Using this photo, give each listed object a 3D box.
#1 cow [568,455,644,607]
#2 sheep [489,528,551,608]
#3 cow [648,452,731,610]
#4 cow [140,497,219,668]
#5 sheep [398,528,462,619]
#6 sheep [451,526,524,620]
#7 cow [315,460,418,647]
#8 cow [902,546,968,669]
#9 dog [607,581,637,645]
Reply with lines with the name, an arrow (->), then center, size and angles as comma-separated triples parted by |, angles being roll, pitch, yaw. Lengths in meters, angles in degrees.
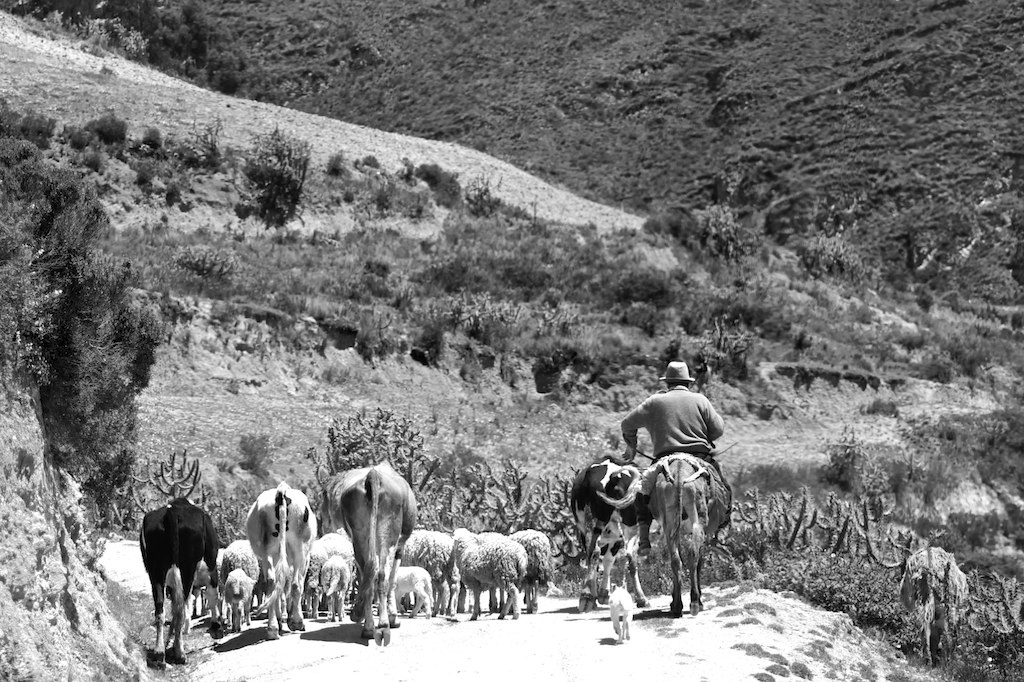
cow -> 2.443, 4.982, 41.468 | 1.751, 4.022, 3.788 | -2, -9, 2
sheep -> 0.268, 5.900, 42.096 | 0.615, 1.681, 2.614 | -1, -1, -15
cow -> 4.641, 4.709, 40.586 | 1.165, 4.385, 1.882 | 0, -1, 6
cow -> -8.340, 6.019, 39.283 | 0.999, 4.139, 1.913 | -5, -10, 45
sheep -> -2.009, 5.957, 41.305 | 0.871, 2.572, 2.652 | 5, -7, -28
sheep -> -0.556, 6.146, 40.822 | 1.860, 2.358, 0.980 | 2, -7, 1
cow -> -4.572, 5.485, 40.659 | 2.317, 4.234, 4.811 | -2, -6, 2
cow -> 11.144, 6.823, 41.448 | 1.024, 2.499, 3.774 | 2, -3, 14
dog -> 2.706, 7.031, 39.670 | 0.326, 0.952, 1.469 | -5, 8, -1
